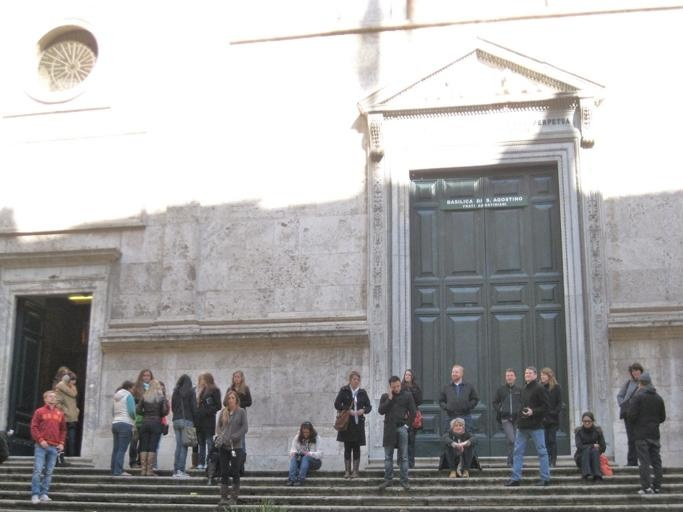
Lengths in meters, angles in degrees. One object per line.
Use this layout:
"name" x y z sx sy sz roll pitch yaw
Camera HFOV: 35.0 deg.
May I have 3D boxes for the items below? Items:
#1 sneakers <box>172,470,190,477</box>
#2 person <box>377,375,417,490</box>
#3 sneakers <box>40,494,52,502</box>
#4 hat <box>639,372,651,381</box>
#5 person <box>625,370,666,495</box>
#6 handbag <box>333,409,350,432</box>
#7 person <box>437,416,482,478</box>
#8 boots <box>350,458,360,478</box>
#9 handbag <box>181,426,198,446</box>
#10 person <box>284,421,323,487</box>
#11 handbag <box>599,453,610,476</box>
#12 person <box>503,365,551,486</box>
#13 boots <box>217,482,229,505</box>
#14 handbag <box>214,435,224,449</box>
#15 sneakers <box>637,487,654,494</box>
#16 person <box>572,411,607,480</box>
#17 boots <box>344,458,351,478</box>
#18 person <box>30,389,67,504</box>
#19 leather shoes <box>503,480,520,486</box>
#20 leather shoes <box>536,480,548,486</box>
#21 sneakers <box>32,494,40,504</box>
"sneakers" -3.233 4.316 21.705 0.385 0.190 0.134 1 -7 6
"person" 1.085 3.385 20.874 0.713 2.125 0.663 -1 -13 2
"sneakers" -5.641 4.576 20.634 0.194 0.152 0.264 4 -14 -17
"hat" 5.785 2.318 20.580 0.193 0.147 0.272 -1 10 12
"person" 5.692 3.259 20.214 0.608 2.239 0.688 -7 -15 25
"handbag" 0.001 3.236 21.481 0.187 0.413 0.348 11 -17 -39
"person" 2.320 3.707 21.167 0.727 1.152 0.551 6 -15 -24
"boots" 0.265 4.146 21.331 0.127 0.367 0.316 -2 -14 9
"handbag" -3.098 3.610 21.920 0.154 0.362 0.342 -16 -20 36
"person" -0.731 3.860 21.371 0.673 1.204 0.569 1 -13 -6
"handbag" 5.087 3.993 20.868 0.134 0.393 0.292 -11 -8 4
"person" 3.539 3.215 20.651 0.778 2.217 0.671 -2 -13 9
"boots" -2.178 4.358 20.134 0.171 0.409 0.405 1 -14 -6
"handbag" -2.267 3.431 20.132 0.147 0.220 0.066 0 -5 21
"sneakers" 5.587 4.271 19.806 0.116 0.115 0.245 2 1 -19
"person" 4.761 3.600 20.763 0.554 1.320 0.592 -3 -14 12
"boots" 0.127 4.132 21.304 0.146 0.381 0.266 0 -13 1
"person" -5.716 3.673 21.041 0.522 2.151 0.685 -2 -13 8
"leather shoes" 3.187 4.214 20.262 0.273 0.122 0.385 -2 -14 7
"leather shoes" 3.766 4.198 20.258 0.172 0.073 0.079 3 -4 0
"sneakers" -5.804 4.585 20.584 0.157 0.161 0.203 8 -16 -30
